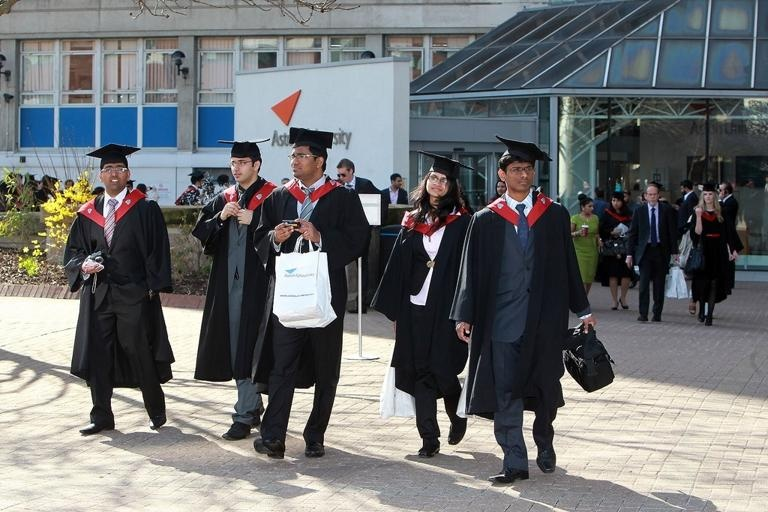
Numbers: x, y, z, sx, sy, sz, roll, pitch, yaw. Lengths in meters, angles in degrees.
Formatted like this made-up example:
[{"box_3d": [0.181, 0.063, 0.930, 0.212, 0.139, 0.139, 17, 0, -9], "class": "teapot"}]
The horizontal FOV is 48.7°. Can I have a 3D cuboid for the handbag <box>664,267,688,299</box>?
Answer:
[{"box_3d": [5.450, 0.484, 15.774, 0.399, 0.702, 0.700, -1, -2, 14], "class": "handbag"}]

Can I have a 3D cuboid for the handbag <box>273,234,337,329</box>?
[{"box_3d": [-0.733, 0.309, 7.719, 0.548, 0.691, 0.232, 0, 6, -4], "class": "handbag"}]

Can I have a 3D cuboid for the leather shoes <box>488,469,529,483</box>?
[{"box_3d": [1.081, 1.887, 7.338, 0.344, 0.126, 0.124, 1, -1, -21], "class": "leather shoes"}]

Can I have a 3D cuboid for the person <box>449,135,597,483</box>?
[{"box_3d": [1.195, 0.449, 7.539, 0.973, 2.890, 0.704, -4, 8, -33], "class": "person"}]

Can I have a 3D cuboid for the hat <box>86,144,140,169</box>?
[{"box_3d": [-2.766, -1.052, 8.757, 0.380, 0.117, 0.378, -2, -3, -33], "class": "hat"}]

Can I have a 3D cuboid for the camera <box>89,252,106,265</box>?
[{"box_3d": [-2.884, 0.012, 8.548, 0.152, 0.110, 0.060, -4, -5, -1], "class": "camera"}]

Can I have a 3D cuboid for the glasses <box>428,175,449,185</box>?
[{"box_3d": [0.533, -0.735, 8.196, 0.173, 0.087, 0.076, 0, 7, -5], "class": "glasses"}]

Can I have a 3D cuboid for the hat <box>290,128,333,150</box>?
[{"box_3d": [-0.698, -1.129, 8.145, 0.304, 0.171, 0.295, 6, 2, -4], "class": "hat"}]

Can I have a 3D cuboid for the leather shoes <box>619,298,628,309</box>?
[{"box_3d": [4.667, 0.928, 16.496, 0.090, 0.272, 0.065, -27, -41, 22], "class": "leather shoes"}]

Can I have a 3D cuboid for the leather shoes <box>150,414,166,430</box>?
[{"box_3d": [-2.294, 1.668, 8.579, 0.078, 0.128, 0.130, 28, 45, 32], "class": "leather shoes"}]

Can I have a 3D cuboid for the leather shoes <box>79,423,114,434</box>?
[{"box_3d": [-2.861, 1.697, 8.427, 0.309, 0.124, 0.111, 6, -1, -25], "class": "leather shoes"}]

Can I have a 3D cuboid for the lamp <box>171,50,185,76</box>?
[{"box_3d": [-7.681, -7.210, 31.748, 0.445, 0.899, 0.454, 3, 7, 25], "class": "lamp"}]

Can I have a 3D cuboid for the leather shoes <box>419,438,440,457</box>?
[{"box_3d": [0.419, 1.787, 7.874, 0.094, 0.176, 0.251, -3, -7, 26], "class": "leather shoes"}]

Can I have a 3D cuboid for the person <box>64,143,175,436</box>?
[{"box_3d": [-2.706, 0.299, 8.634, 0.998, 2.837, 0.745, -2, 7, -21], "class": "person"}]
